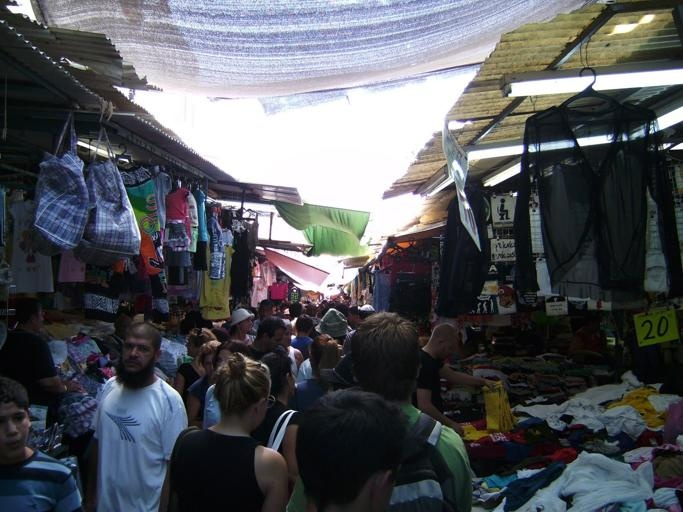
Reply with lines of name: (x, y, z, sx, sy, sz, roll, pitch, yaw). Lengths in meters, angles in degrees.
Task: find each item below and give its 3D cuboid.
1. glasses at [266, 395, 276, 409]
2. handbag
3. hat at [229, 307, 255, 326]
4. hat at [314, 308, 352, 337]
glasses: (-0.469, 0.981, 3.563, 0.076, 0.026, 0.079, 5, 35, -3)
handbag: (-1.910, -0.343, 3.955, 0.450, 0.870, 0.871, -11, -14, 34)
hat: (-1.310, 0.832, 6.905, 0.240, 0.112, 0.239, -19, 0, 17)
hat: (-0.087, 0.817, 6.326, 0.316, 0.164, 0.334, 4, 18, 4)
